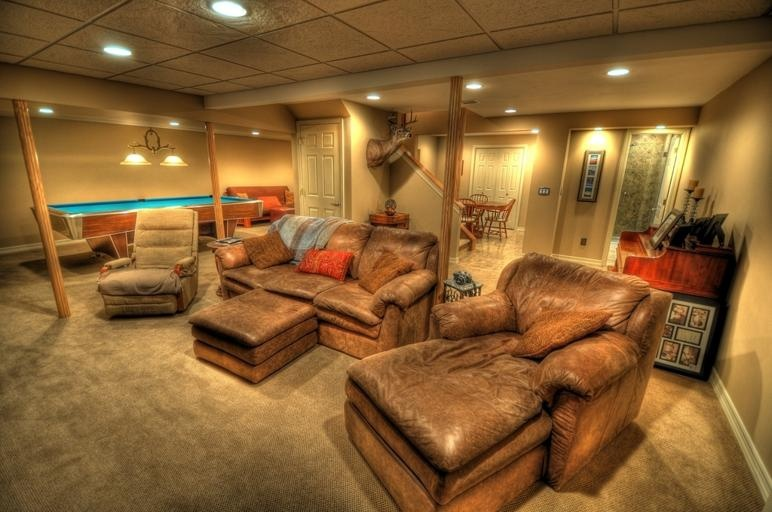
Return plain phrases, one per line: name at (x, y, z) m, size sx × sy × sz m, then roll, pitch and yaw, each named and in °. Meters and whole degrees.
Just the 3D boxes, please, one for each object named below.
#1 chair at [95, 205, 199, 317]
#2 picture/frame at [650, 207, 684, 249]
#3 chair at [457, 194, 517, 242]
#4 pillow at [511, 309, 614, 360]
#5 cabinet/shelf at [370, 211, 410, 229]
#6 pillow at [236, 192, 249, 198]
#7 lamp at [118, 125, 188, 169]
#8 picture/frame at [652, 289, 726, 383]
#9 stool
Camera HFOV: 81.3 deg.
chair at (-2.870, 0.068, 5.496) m, size 1.027 × 1.252 × 0.920 m, roll -2°, pitch 12°, yaw -16°
picture/frame at (3.186, -0.305, 5.100) m, size 0.279 × 0.414 × 0.602 m, roll 8°, pitch 12°, yaw 30°
chair at (2.215, -0.797, 9.760) m, size 1.092 × 0.791 × 1.762 m, roll 4°, pitch 10°, yaw 15°
pillow at (1.506, 0.732, 3.786) m, size 0.537 × 0.147 × 0.522 m, roll -28°, pitch 17°, yaw 40°
cabinet/shelf at (0.059, -0.704, 7.506) m, size 0.494 × 0.431 × 0.501 m, roll 7°, pitch 12°, yaw 35°
pillow at (-3.222, -1.366, 10.134) m, size 0.190 × 0.053 × 0.176 m, roll 11°, pitch 18°, yaw -8°
lamp at (-4.548, -2.124, 8.678) m, size 0.539 × 0.708 × 1.186 m, roll 3°, pitch 9°, yaw 30°
picture/frame at (2.935, 0.748, 4.314) m, size 0.817 × 0.914 × 0.071 m, roll 14°, pitch 23°, yaw 38°
stool at (-1.250, 0.696, 4.540) m, size 0.941 × 0.474 × 0.945 m, roll 9°, pitch 17°, yaw 33°
